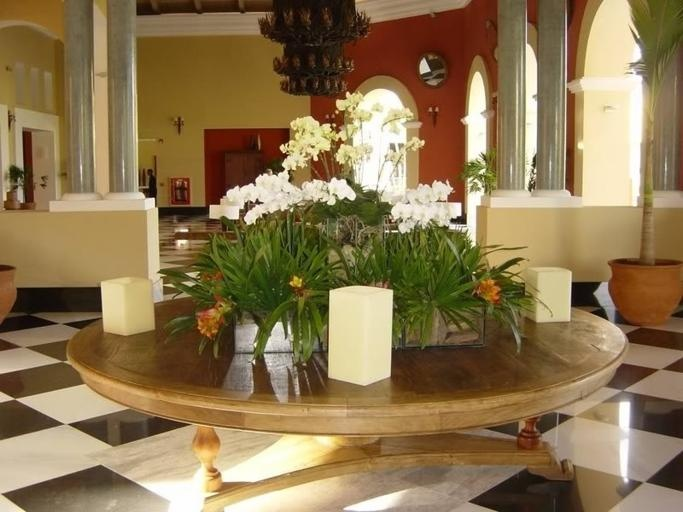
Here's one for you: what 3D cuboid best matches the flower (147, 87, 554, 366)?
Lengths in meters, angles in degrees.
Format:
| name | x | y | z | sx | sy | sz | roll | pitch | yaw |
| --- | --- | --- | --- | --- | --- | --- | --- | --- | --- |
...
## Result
| name | x | y | z | sx | sy | sz | roll | pitch | yaw |
| --- | --- | --- | --- | --- | --- | --- | --- | --- | --- |
| flower | 0.077 | -0.022 | 1.793 | 0.971 | 0.704 | 0.998 | 2 | 6 | 19 |
